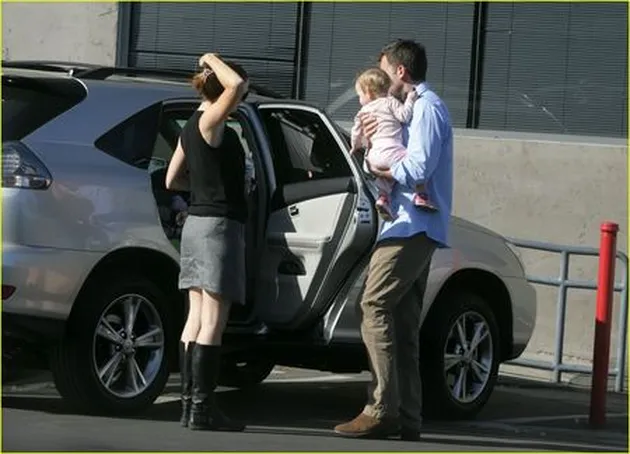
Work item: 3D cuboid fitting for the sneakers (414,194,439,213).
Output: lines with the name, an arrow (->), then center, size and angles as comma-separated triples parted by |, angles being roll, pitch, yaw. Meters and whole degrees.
sneakers -> 0.826, -0.183, 6.738 | 0.164, 0.156, 0.097 | -3, 15, -20

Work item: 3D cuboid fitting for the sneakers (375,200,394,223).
sneakers -> 0.545, -0.151, 6.827 | 0.083, 0.200, 0.097 | -31, 7, 37

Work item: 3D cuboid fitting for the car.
car -> -0.274, 0.094, 7.674 | 4.596, 1.925, 2.400 | -1, 0, -35
